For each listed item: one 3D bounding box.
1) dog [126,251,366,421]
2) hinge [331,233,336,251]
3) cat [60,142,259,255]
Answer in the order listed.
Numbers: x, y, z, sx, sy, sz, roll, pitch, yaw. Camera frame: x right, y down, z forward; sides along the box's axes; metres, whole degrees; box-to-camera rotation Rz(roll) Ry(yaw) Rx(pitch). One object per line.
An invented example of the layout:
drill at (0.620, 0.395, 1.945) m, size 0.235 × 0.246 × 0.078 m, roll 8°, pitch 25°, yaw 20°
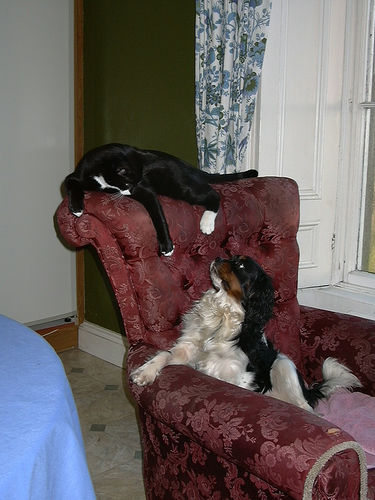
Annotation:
dog at (0.196, 0.263, 1.472) m, size 0.853 × 0.445 × 0.309 m, roll 21°, pitch -14°, yaw -30°
hinge at (0.816, -0.042, 2.419) m, size 0.023 × 0.099 × 0.013 m, roll 2°, pitch 11°, yaw -16°
cat at (-0.035, -0.227, 1.466) m, size 0.702 × 0.256 × 0.395 m, roll -12°, pitch 35°, yaw -16°
